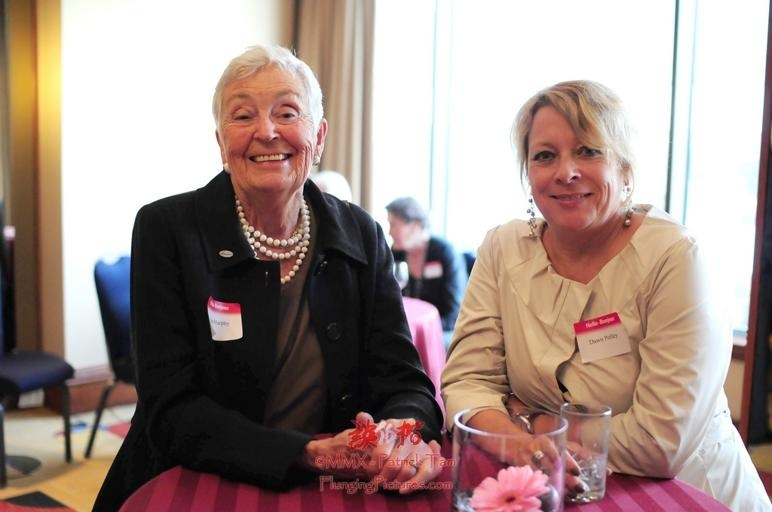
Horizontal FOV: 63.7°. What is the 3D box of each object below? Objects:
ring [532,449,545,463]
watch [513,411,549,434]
[{"bbox_3d":[0.386,0.509,1.576,0.031,0.030,0.032,-1,-6,0],"label":"ring"},{"bbox_3d":[0.403,0.447,1.714,0.070,0.035,0.055,17,10,37],"label":"watch"}]
